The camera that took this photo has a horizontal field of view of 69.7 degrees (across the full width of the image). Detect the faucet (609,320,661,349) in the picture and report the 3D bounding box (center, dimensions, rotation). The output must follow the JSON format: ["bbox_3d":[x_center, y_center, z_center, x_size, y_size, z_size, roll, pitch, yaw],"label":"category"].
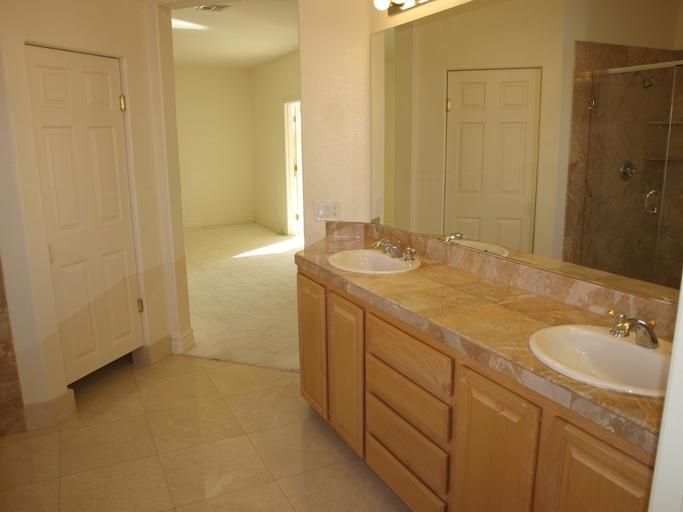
[{"bbox_3d":[1.026,0.256,1.751,0.077,0.094,0.169,-7,22,-12],"label":"faucet"}]

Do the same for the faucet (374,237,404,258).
[{"bbox_3d":[0.278,-0.052,2.974,0.073,0.100,0.264,-4,11,-24],"label":"faucet"}]
